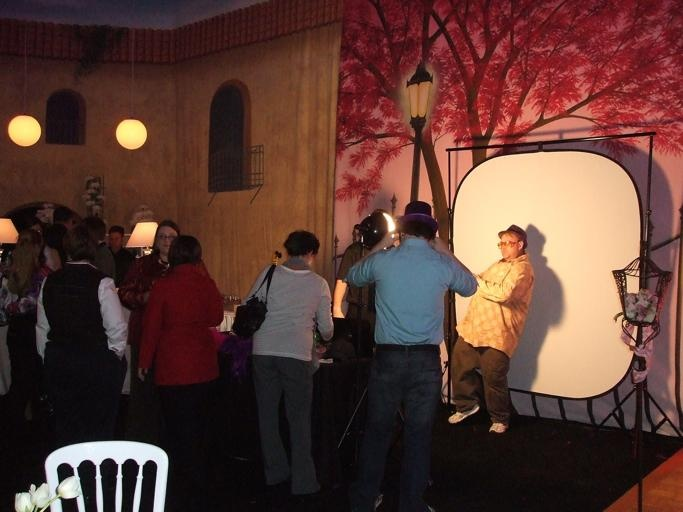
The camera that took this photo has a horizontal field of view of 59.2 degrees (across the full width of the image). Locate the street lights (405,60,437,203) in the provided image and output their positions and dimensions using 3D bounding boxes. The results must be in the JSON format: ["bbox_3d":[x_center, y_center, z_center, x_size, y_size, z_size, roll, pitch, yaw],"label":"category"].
[{"bbox_3d":[0.760,-1.247,5.962,0.257,1.388,0.825,2,8,8],"label":"street lights"}]

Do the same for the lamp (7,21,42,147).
[{"bbox_3d":[-4.003,-2.190,7.548,0.396,1.596,1.563,-3,9,-26],"label":"lamp"}]

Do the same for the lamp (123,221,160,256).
[{"bbox_3d":[-2.266,-0.207,6.847,0.393,0.456,0.425,3,6,23],"label":"lamp"}]

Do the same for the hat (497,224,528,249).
[{"bbox_3d":[1.576,-0.216,5.541,0.242,0.109,0.192,23,-7,-3],"label":"hat"}]

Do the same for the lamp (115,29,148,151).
[{"bbox_3d":[-2.627,-2.181,7.588,0.397,1.645,1.798,-2,8,-20],"label":"lamp"}]

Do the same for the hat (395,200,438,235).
[{"bbox_3d":[0.499,-0.263,3.910,0.182,0.144,0.250,8,-22,11],"label":"hat"}]
